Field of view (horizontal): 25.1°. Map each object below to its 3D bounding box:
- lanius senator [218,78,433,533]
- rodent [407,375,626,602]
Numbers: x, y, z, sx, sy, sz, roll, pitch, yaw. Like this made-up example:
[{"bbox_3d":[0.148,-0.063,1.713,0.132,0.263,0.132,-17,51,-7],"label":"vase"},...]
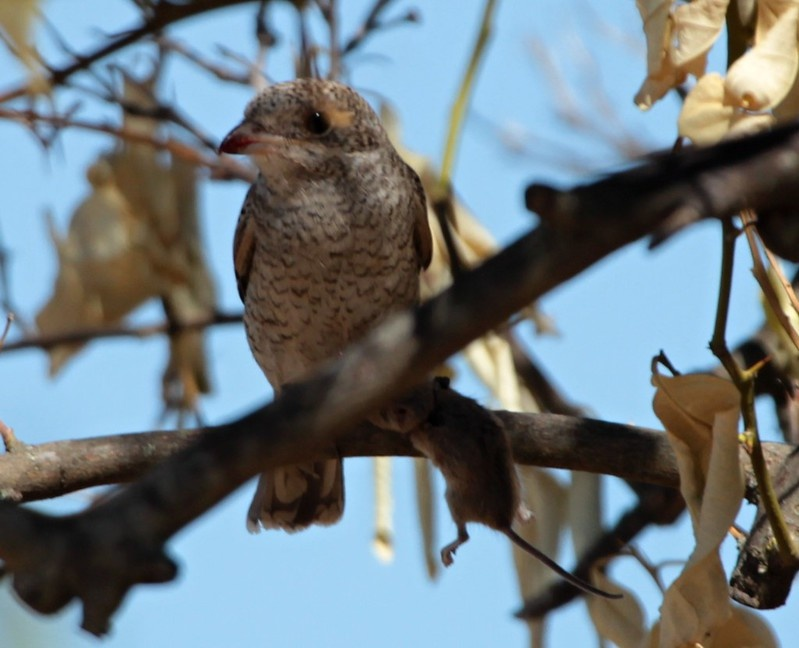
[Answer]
[{"bbox_3d":[-0.159,-0.018,4.461,0.447,1.170,0.746,-6,14,-2],"label":"lanius senator"},{"bbox_3d":[0.221,0.363,3.710,0.631,0.350,0.193,31,31,28],"label":"rodent"}]
